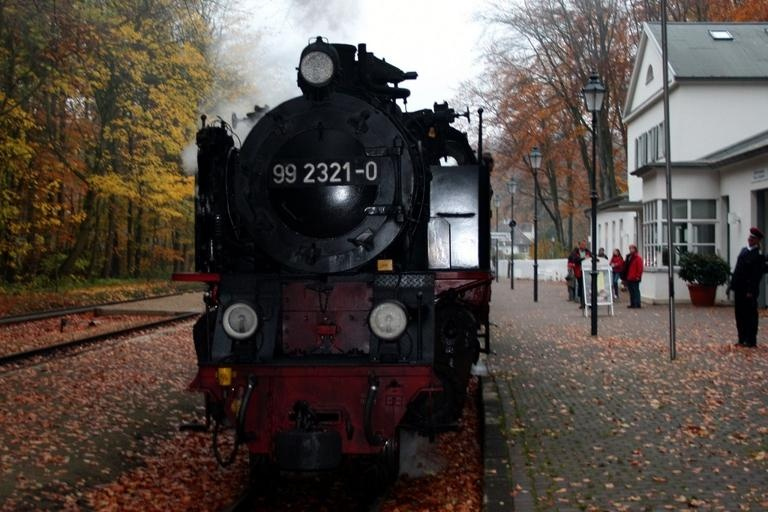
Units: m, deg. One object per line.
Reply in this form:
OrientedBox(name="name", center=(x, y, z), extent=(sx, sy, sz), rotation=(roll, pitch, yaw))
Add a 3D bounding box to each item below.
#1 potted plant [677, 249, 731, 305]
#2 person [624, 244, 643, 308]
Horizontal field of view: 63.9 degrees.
OrientedBox(name="potted plant", center=(10.933, 0.778, 20.983), extent=(1.518, 1.666, 1.652), rotation=(2, 4, 21))
OrientedBox(name="person", center=(8.789, 0.711, 21.702), extent=(0.653, 2.157, 1.593), rotation=(-2, -2, 21))
